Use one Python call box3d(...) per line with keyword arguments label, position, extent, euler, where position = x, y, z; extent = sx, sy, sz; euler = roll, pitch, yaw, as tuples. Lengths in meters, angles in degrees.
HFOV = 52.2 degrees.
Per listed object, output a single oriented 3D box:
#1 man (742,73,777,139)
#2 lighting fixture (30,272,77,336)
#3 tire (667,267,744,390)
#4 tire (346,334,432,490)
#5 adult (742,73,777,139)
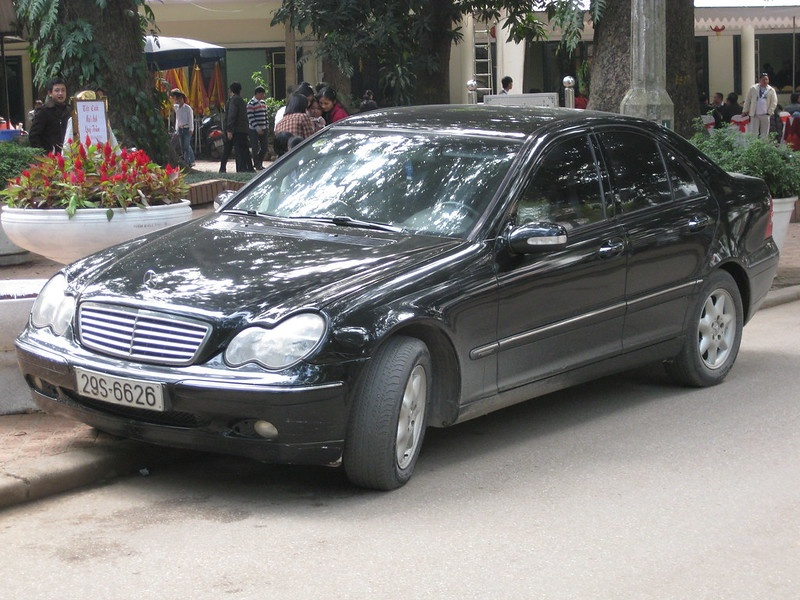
box3d(label="man", position=(9.449, -4.922, 21.515), extent=(0.763, 2.046, 0.584), euler=(3, 32, 22))
box3d(label="lighting fixture", position=(-1.874, 0.060, 4.528), extent=(0.109, 0.408, 0.293), euler=(-1, 29, -45))
box3d(label="tire", position=(2.266, 0.205, 6.151), extent=(0.199, 0.637, 0.635), euler=(15, 51, 28))
box3d(label="tire", position=(-0.038, 0.601, 4.186), extent=(0.579, 0.825, 0.229), euler=(-7, 12, -42))
box3d(label="adult", position=(9.469, -4.919, 21.524), extent=(0.744, 2.048, 0.586), euler=(-1, 31, 17))
